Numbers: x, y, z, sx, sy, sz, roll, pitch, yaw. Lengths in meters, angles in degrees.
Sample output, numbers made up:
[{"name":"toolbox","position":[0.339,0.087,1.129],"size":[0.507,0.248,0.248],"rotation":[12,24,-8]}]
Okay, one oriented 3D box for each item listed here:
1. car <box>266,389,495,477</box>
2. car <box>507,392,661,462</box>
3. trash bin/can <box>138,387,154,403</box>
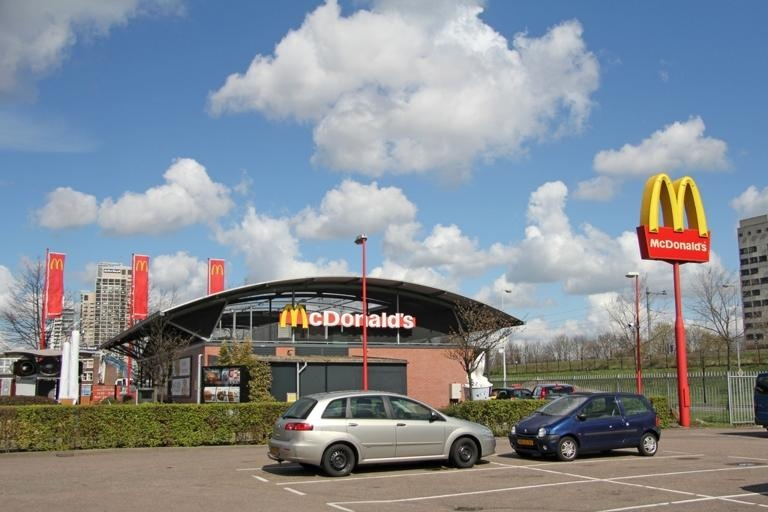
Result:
[{"name":"car","position":[-0.062,5.800,23.305],"size":[6.252,2.056,2.761],"rotation":[-1,-6,-17]},{"name":"car","position":[6.981,6.080,25.212],"size":[4.447,1.951,2.547],"rotation":[5,-14,-22]},{"name":"trash bin/can","position":[-13.731,8.110,40.881],"size":[1.156,1.101,0.638],"rotation":[2,2,-16]}]
